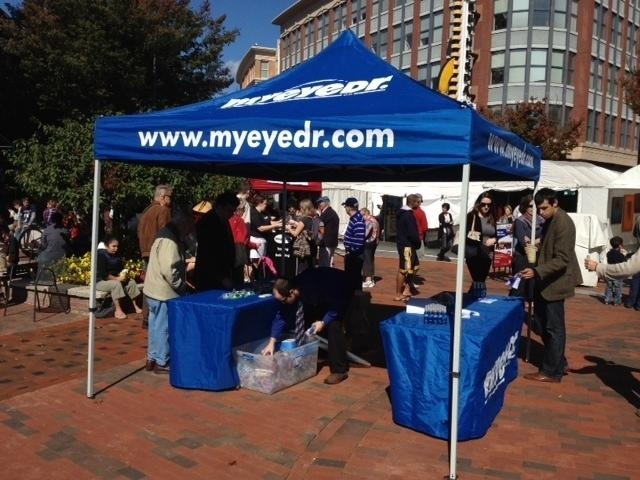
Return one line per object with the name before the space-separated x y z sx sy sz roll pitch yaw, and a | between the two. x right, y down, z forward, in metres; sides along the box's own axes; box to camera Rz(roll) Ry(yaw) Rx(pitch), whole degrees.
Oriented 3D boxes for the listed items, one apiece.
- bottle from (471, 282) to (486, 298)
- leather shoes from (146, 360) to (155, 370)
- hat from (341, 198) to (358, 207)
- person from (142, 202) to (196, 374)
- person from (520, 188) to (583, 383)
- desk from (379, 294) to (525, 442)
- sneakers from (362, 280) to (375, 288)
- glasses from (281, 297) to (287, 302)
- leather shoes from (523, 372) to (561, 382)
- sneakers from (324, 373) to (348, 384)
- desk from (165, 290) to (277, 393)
bottle | 2.121 0.669 7.838 0.181 0.190 0.183 -1 0 -38
leather shoes | -2.300 1.689 7.887 0.082 0.162 0.069 6 0 -4
hat | 0.627 -0.773 12.019 0.173 0.168 0.254 -8 20 -30
person | -2.023 0.681 7.918 0.690 2.191 0.831 3 3 -18
person | 3.177 0.604 7.927 0.714 2.578 0.800 5 10 26
desk | 1.764 1.404 7.315 1.204 1.180 2.295 6 13 31
sneakers | 1.180 1.067 13.939 0.273 0.129 0.113 3 -7 -39
glasses | -0.447 0.739 7.145 0.040 0.046 0.043 -1 -1 12
leather shoes | 3.007 1.839 7.797 0.402 0.135 0.166 5 -2 21
sneakers | 0.203 1.839 7.716 0.117 0.130 0.300 -4 -7 40
desk | -1.305 1.301 8.043 0.962 1.101 1.656 -2 -1 20
